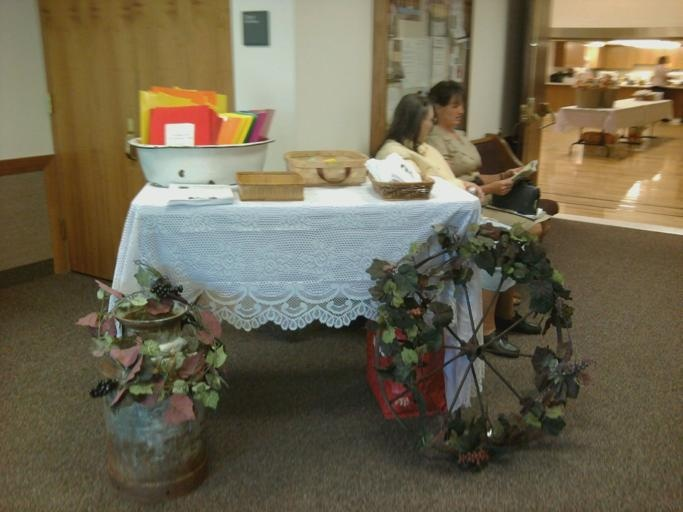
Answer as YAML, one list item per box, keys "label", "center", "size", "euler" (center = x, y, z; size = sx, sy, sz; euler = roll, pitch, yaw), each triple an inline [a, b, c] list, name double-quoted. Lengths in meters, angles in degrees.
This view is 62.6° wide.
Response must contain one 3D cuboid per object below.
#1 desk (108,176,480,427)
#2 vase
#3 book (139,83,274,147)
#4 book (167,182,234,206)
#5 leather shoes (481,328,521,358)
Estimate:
- label: "desk"
  center: [-0.236, 0.225, 2.225]
  size: [0.996, 0.452, 0.713]
  euler: [0, 25, -2]
- label: "vase"
  center: [-0.720, 0.561, 2.060]
  size: [0.392, 0.689, 0.275]
  euler: [-12, 27, -20]
- label: "book"
  center: [-0.575, -0.576, 2.369]
  size: [0.473, 0.154, 0.345]
  euler: [-2, 13, -10]
- label: "book"
  center: [-0.548, -0.237, 2.160]
  size: [0.236, 0.041, 0.194]
  euler: [-6, 24, -11]
- label: "leather shoes"
  center: [0.855, 0.445, 3.025]
  size: [0.179, 0.170, 0.292]
  euler: [5, 25, 14]
